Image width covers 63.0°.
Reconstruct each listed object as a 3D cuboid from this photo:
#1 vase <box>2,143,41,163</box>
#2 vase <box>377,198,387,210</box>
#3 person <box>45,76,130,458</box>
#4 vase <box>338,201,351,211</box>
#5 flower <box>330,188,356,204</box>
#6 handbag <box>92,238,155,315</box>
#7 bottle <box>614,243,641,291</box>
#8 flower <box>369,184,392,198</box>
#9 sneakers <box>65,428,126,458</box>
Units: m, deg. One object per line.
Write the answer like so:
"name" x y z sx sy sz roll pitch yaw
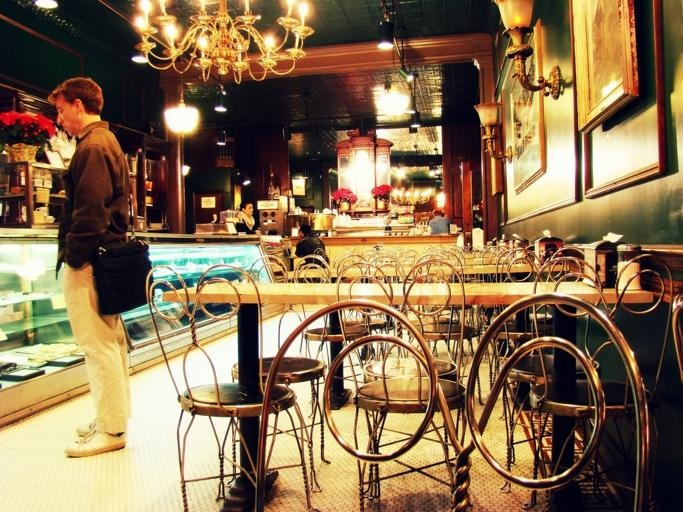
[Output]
"vase" -2.537 -0.820 4.369 0.187 0.112 0.199 1 -5 -7
"vase" 0.938 -1.220 12.981 0.221 0.242 0.239 0 9 12
"person" -1.566 0.036 3.498 0.436 2.345 0.348 -3 3 -24
"vase" 0.064 -1.193 13.225 0.206 0.167 0.220 0 -6 2
"flower" 0.040 -1.488 13.493 0.544 0.411 0.821 -2 3 -1
"handbag" -1.364 0.119 3.414 0.236 0.517 0.443 -1 4 22
"bottle" 1.444 0.063 2.776 0.108 0.232 0.541 0 4 27
"flower" 0.943 -1.508 12.903 0.317 0.248 0.343 0 14 10
"sneakers" -1.514 1.150 3.425 0.324 0.154 0.124 5 -3 -19
